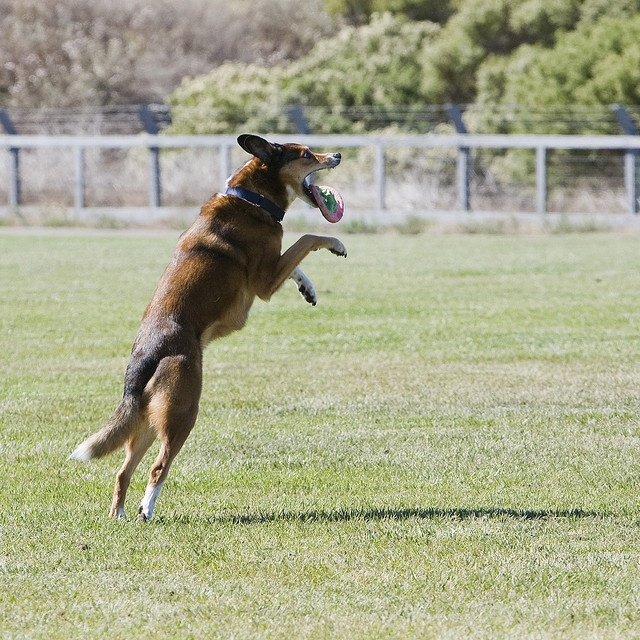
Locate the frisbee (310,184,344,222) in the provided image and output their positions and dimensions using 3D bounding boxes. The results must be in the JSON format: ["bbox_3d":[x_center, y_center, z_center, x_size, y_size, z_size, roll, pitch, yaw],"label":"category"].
[{"bbox_3d":[0.041,-1.026,14.983,0.269,0.342,0.080,-21,-1,-41],"label":"frisbee"}]
